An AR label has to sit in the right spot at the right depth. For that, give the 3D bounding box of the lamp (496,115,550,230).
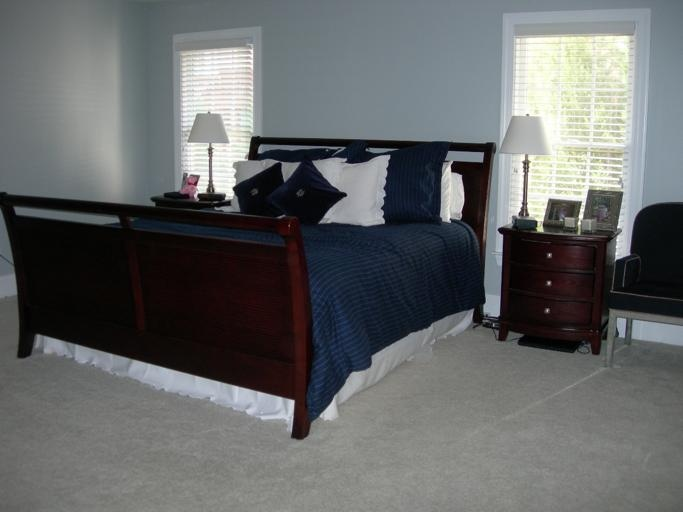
[{"bbox_3d":[1.422,-0.704,4.274,0.378,0.755,0.501,6,15,19],"label":"lamp"}]

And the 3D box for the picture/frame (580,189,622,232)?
[{"bbox_3d":[1.940,-0.335,4.091,0.281,0.378,0.038,8,-11,29],"label":"picture/frame"}]

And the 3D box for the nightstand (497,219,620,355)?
[{"bbox_3d":[1.602,0.138,4.202,0.777,0.916,0.642,7,30,28],"label":"nightstand"}]

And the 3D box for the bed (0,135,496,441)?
[{"bbox_3d":[-0.832,-0.069,3.287,1.444,0.963,1.611,6,10,34],"label":"bed"}]

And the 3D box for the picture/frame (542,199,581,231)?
[{"bbox_3d":[1.683,-0.309,4.188,0.019,0.274,0.255,25,-18,-40],"label":"picture/frame"}]

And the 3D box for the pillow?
[{"bbox_3d":[0.109,-0.519,4.195,1.303,0.644,0.544,-3,-7,14],"label":"pillow"}]
